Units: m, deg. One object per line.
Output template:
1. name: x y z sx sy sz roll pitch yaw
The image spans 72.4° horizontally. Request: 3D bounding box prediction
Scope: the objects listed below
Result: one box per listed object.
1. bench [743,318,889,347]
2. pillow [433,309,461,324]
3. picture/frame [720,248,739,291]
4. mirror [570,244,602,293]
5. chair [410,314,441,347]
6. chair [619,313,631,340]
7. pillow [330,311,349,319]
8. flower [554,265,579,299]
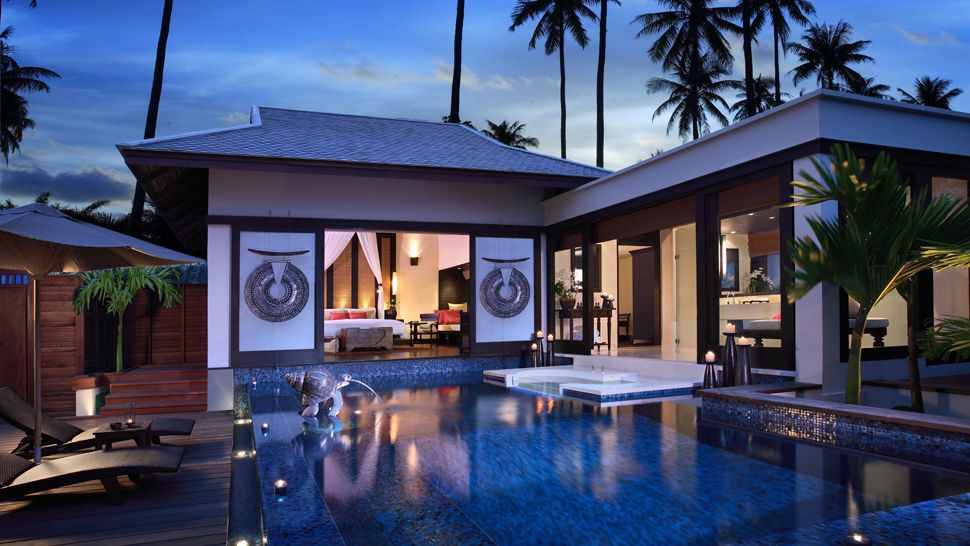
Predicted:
1. bench: 5.619 0.978 11.423 2.342 0.478 0.885 -2 13 0
2. pillow: -1.121 1.342 19.719 0.692 0.360 0.821 -1 13 2
3. picture/frame: 4.477 -0.049 12.226 0.796 0.772 0.055 3 -4 -31
4. mirror: 2.316 -0.085 15.460 0.714 1.422 1.952 0 13 8
5. chair: -2.003 1.702 19.936 0.991 1.200 0.890 -1 -6 2
6. chair: 3.831 1.468 18.283 0.345 0.695 0.380 1 14 13
7. pillow: -4.327 1.267 19.674 0.347 0.205 0.093 4 -13 -27
8. flower: 1.914 0.219 15.320 0.669 0.645 0.568 2 -7 -10
